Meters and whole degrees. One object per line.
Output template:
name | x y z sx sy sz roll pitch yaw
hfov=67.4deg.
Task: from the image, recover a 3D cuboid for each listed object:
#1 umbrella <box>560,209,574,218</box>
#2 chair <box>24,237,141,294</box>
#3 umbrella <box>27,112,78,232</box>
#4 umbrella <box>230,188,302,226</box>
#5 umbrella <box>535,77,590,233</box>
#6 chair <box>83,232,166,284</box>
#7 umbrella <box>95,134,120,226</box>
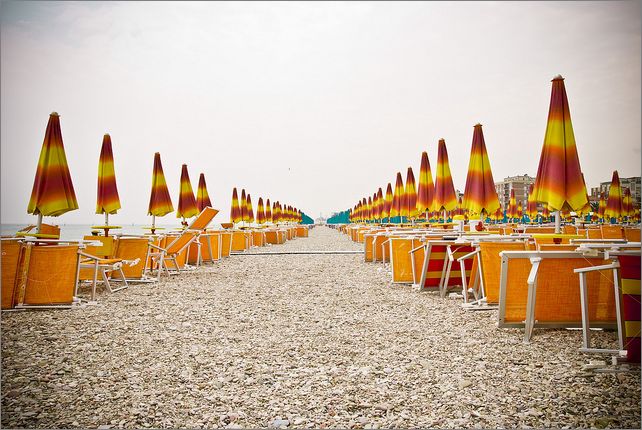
umbrella | 6.301 -0.035 12.399 0.150 0.321 0.182 -8 -7 4
chair | -4.229 0.866 9.211 0.612 0.894 0.975 1 -14 22
umbrella | -4.948 -0.808 8.801 0.823 2.230 0.430 -1 1 -24
umbrella | -3.969 -0.498 31.591 4.462 1.964 0.821 3 10 33
umbrella | 4.240 -1.096 8.530 0.817 2.811 0.368 0 1 24
chair | -4.339 0.906 10.782 0.952 0.852 1.263 10 -8 -30
umbrella | -5.235 -1.024 11.726 0.556 1.931 0.340 -1 1 -22
